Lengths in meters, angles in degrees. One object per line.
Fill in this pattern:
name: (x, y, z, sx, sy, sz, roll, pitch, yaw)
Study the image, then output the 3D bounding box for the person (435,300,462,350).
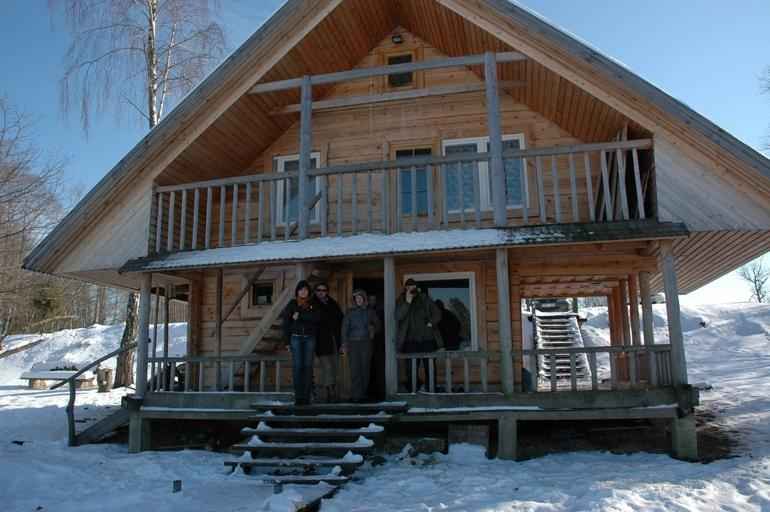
person: (1.474, 1.631, 15.924, 0.802, 0.999, 0.258, -14, -8, -23)

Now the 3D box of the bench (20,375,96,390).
bench: (-11.121, 4.348, 23.711, 3.256, 0.423, 1.665, -10, -15, 38)

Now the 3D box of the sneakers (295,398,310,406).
sneakers: (-1.655, 2.956, 14.059, 0.304, 0.153, 0.250, 3, -13, -21)

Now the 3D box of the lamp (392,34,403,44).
lamp: (0.307, -5.468, 17.564, 0.256, 0.211, 0.140, -3, -13, 6)
